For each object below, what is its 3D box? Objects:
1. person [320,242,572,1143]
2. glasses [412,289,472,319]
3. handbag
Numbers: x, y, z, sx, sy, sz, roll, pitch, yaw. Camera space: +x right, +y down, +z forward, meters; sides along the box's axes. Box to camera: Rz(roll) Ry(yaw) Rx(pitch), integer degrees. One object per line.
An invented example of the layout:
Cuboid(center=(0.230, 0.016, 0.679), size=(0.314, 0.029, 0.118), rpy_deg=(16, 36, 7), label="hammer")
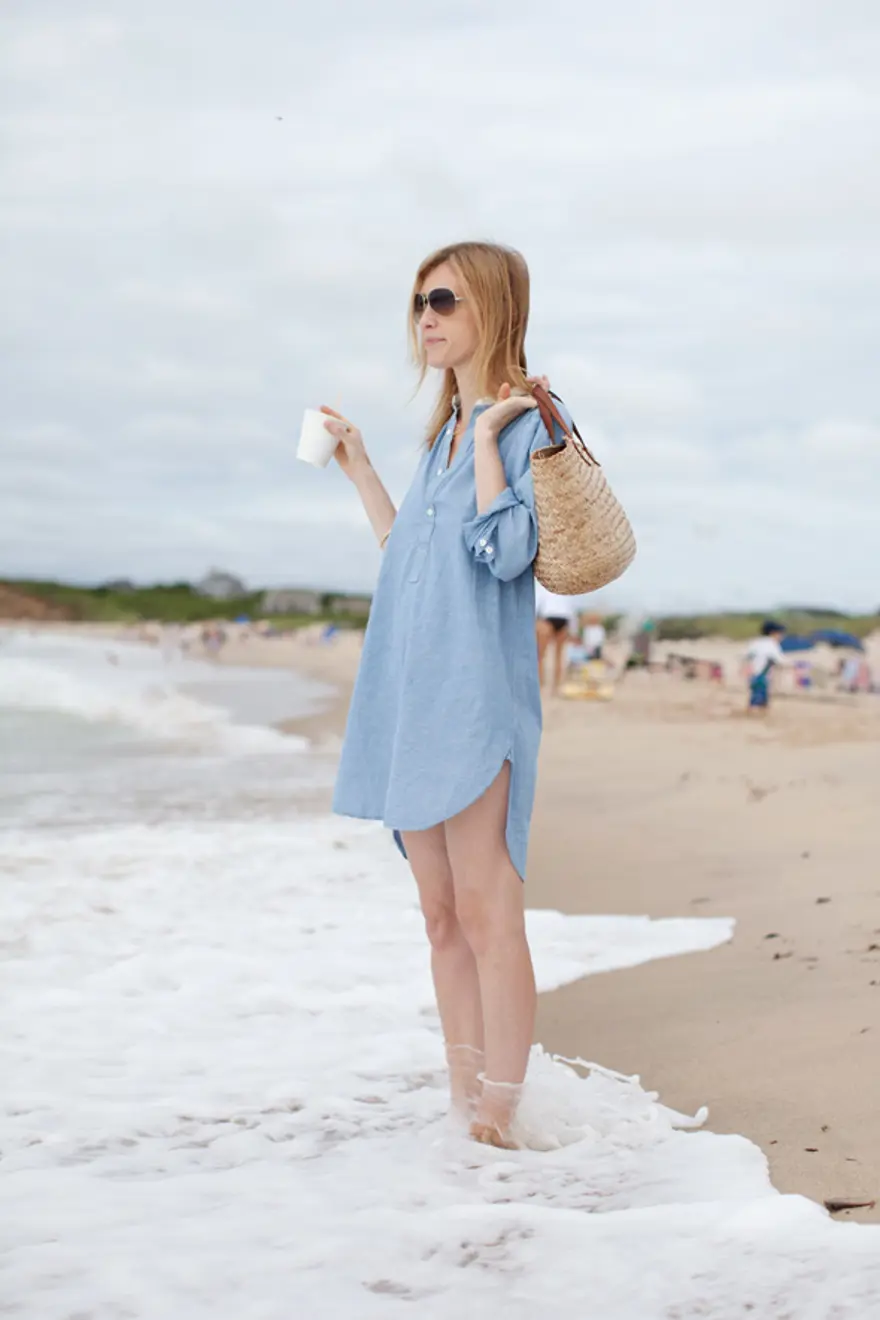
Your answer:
Cuboid(center=(0.017, 0.064, 3.618), size=(0.541, 1.902, 0.519), rpy_deg=(-7, 9, 4), label="person")
Cuboid(center=(-0.004, -0.748, 3.586), size=(0.086, 0.032, 0.084), rpy_deg=(4, 3, 39), label="glasses")
Cuboid(center=(0.281, -0.290, 3.409), size=(0.206, 0.321, 0.166), rpy_deg=(-6, 9, 3), label="handbag")
